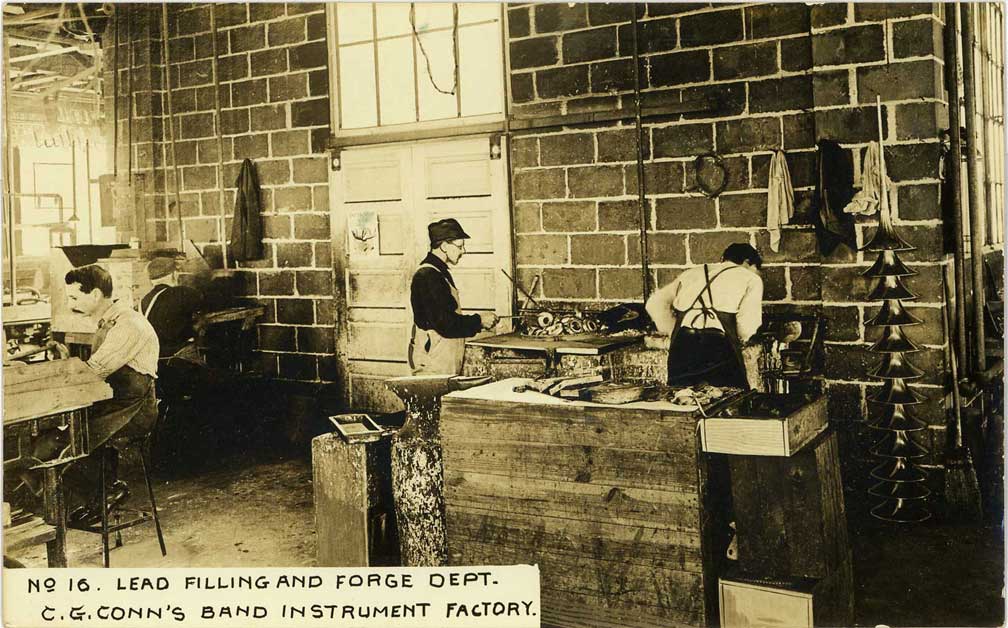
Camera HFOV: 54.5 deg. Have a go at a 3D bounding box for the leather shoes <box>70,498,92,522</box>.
[{"bbox_3d":[-2.837,1.324,6.591,0.135,0.049,0.100,-19,-5,1],"label":"leather shoes"}]

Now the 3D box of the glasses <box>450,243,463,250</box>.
[{"bbox_3d":[-0.318,-0.481,6.961,0.083,0.044,0.015,-3,2,-7],"label":"glasses"}]

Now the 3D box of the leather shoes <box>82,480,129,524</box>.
[{"bbox_3d":[-2.699,1.264,6.661,0.188,0.126,0.328,-31,-4,19],"label":"leather shoes"}]

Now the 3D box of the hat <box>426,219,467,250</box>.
[{"bbox_3d":[-0.406,-0.573,6.978,0.252,0.131,0.179,-11,9,-9],"label":"hat"}]

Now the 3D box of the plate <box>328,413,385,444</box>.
[{"bbox_3d":[-0.977,0.769,6.588,0.293,0.110,0.434,-3,2,-22],"label":"plate"}]
